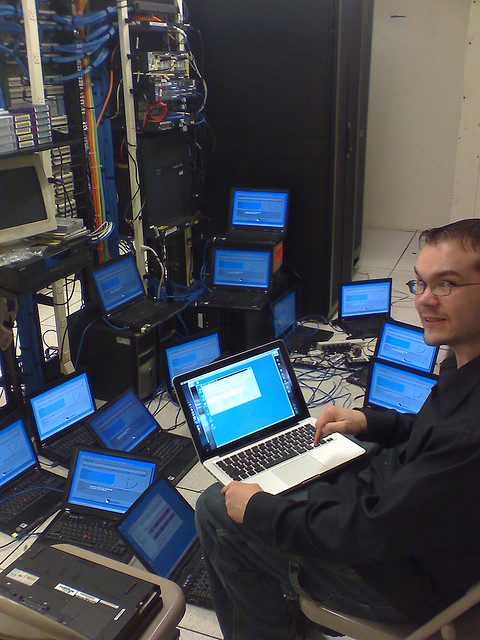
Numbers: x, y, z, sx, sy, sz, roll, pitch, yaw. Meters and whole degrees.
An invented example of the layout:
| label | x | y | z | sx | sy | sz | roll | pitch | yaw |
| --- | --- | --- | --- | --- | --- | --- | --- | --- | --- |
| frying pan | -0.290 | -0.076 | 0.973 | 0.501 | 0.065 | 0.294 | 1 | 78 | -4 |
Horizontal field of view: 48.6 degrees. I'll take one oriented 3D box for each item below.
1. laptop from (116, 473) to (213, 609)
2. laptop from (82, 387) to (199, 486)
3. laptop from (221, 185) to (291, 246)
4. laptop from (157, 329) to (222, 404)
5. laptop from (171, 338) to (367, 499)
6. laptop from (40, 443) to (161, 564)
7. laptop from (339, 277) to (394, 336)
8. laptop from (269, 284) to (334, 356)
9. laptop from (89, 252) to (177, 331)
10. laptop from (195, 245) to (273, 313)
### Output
| label | x | y | z | sx | sy | sz | roll | pitch | yaw |
| --- | --- | --- | --- | --- | --- | --- | --- | --- | --- |
| laptop | -0.257 | 0.777 | 1.952 | 0.362 | 0.313 | 0.495 | 4 | 24 | 11 |
| laptop | -0.482 | 0.645 | 2.680 | 0.410 | 0.271 | 0.449 | 18 | 25 | 4 |
| laptop | 0.138 | -0.812 | 3.998 | 0.597 | 0.514 | 0.421 | 6 | 19 | 9 |
| laptop | -0.257 | 0.215 | 3.146 | 0.320 | 0.356 | 0.429 | 20 | 31 | 37 |
| laptop | 0.100 | 0.434 | 1.935 | 0.594 | 0.386 | 0.581 | -21 | 30 | -26 |
| laptop | -0.567 | 0.733 | 2.194 | 0.448 | 0.265 | 0.385 | 12 | 31 | 12 |
| laptop | 0.868 | -0.105 | 4.026 | 0.498 | 0.445 | 0.391 | -1 | 21 | 1 |
| laptop | 0.406 | 0.063 | 3.913 | 0.430 | 0.418 | 0.611 | 11 | 32 | 17 |
| laptop | -0.688 | -0.100 | 3.252 | 0.444 | 0.368 | 0.515 | 14 | 27 | 15 |
| laptop | -0.022 | -0.307 | 3.752 | 0.567 | 0.413 | 0.469 | 6 | 26 | 15 |
